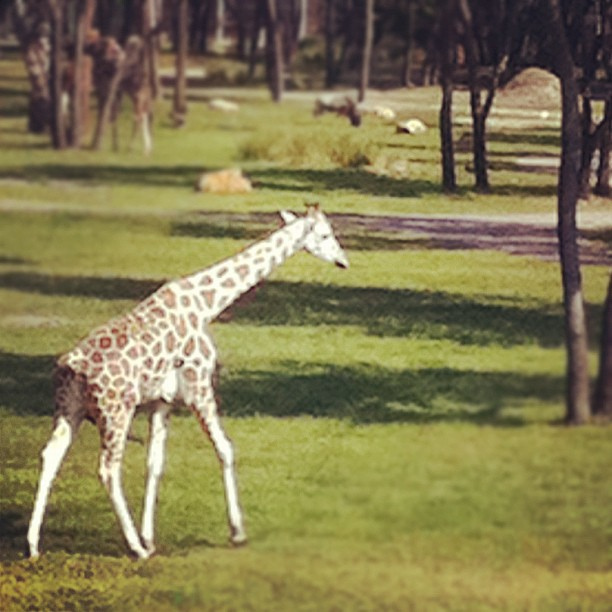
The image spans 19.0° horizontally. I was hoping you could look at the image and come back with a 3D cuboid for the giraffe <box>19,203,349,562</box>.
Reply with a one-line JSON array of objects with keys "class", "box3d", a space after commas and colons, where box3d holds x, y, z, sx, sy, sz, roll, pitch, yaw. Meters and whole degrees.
[{"class": "giraffe", "box3d": [-0.636, 0.441, 8.616, 1.781, 1.675, 0.457, -9, 14, -28]}]
